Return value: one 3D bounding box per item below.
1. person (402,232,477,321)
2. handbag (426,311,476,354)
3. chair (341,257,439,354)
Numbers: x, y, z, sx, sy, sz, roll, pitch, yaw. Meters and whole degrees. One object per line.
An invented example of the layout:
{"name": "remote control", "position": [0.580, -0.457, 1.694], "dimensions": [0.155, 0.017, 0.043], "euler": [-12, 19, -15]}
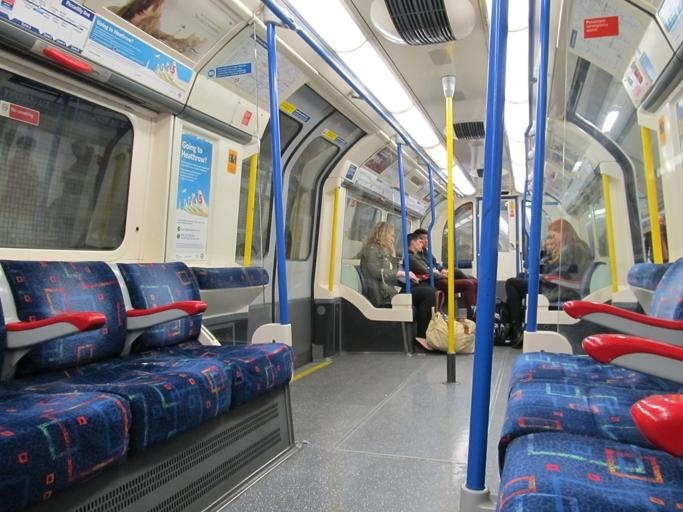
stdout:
{"name": "person", "position": [1.789, 0.366, 6.927], "dimensions": [1.226, 1.742, 0.719], "euler": [-5, 5, 24]}
{"name": "handbag", "position": [1.555, 1.100, 5.832], "dimensions": [0.667, 0.618, 0.316], "euler": [-1, -2, 12]}
{"name": "chair", "position": [0.823, 0.612, 6.164], "dimensions": [1.197, 1.595, 0.578], "euler": [-1, -2, 14]}
